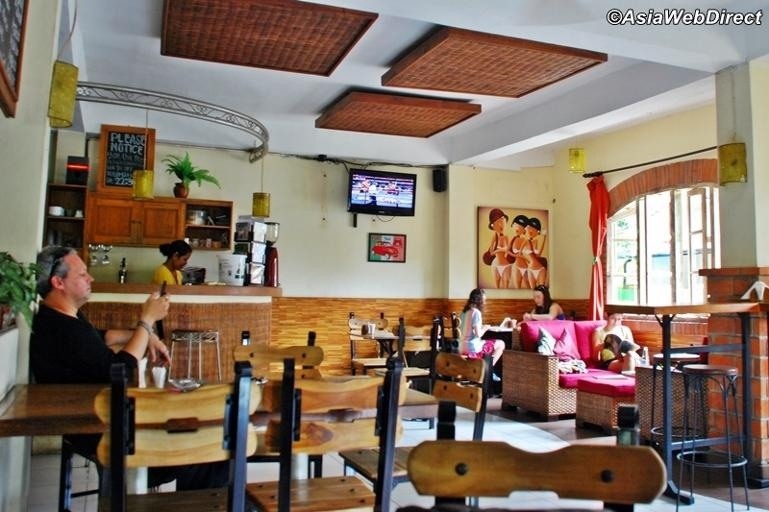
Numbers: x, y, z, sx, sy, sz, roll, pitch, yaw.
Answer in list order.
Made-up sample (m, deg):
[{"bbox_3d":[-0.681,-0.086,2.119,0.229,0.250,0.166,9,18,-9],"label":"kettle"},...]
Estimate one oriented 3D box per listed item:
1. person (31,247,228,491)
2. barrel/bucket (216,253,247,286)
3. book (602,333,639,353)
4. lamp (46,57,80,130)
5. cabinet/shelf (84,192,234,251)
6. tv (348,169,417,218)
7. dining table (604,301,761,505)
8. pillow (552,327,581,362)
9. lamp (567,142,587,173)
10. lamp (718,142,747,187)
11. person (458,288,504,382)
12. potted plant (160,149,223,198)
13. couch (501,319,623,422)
[{"bbox_3d":[-1.763,0.832,3.912,1.109,1.744,0.793,-5,14,-37],"label":"person"},{"bbox_3d":[-1.588,0.126,5.779,0.321,0.253,0.297,2,-5,0],"label":"barrel/bucket"},{"bbox_3d":[2.891,1.081,7.122,0.257,0.126,0.316,11,2,-6],"label":"book"},{"bbox_3d":[-2.139,-1.087,3.822,0.160,0.436,0.244,2,-2,-31],"label":"lamp"},{"bbox_3d":[-3.085,-0.469,7.978,1.904,0.718,0.388,1,-2,-25],"label":"cabinet/shelf"},{"bbox_3d":[-0.064,-1.004,9.272,0.864,0.497,0.088,2,-5,-16],"label":"tv"},{"bbox_3d":[2.495,1.204,4.724,1.753,1.467,0.591,-1,2,-22],"label":"dining table"},{"bbox_3d":[2.322,1.128,7.310,0.131,0.421,0.426,-19,-52,38],"label":"pillow"},{"bbox_3d":[2.661,-1.299,7.898,0.156,0.311,0.408,0,-2,26],"label":"lamp"},{"bbox_3d":[3.193,-0.846,5.272,0.219,0.351,0.108,0,-3,28],"label":"lamp"},{"bbox_3d":[1.282,1.032,7.552,0.687,1.139,0.480,8,-6,-28],"label":"person"},{"bbox_3d":[-2.805,-1.147,8.210,0.769,0.472,0.742,6,1,15],"label":"potted plant"},{"bbox_3d":[2.145,1.245,6.713,1.314,0.770,1.158,2,-8,-13],"label":"couch"}]
